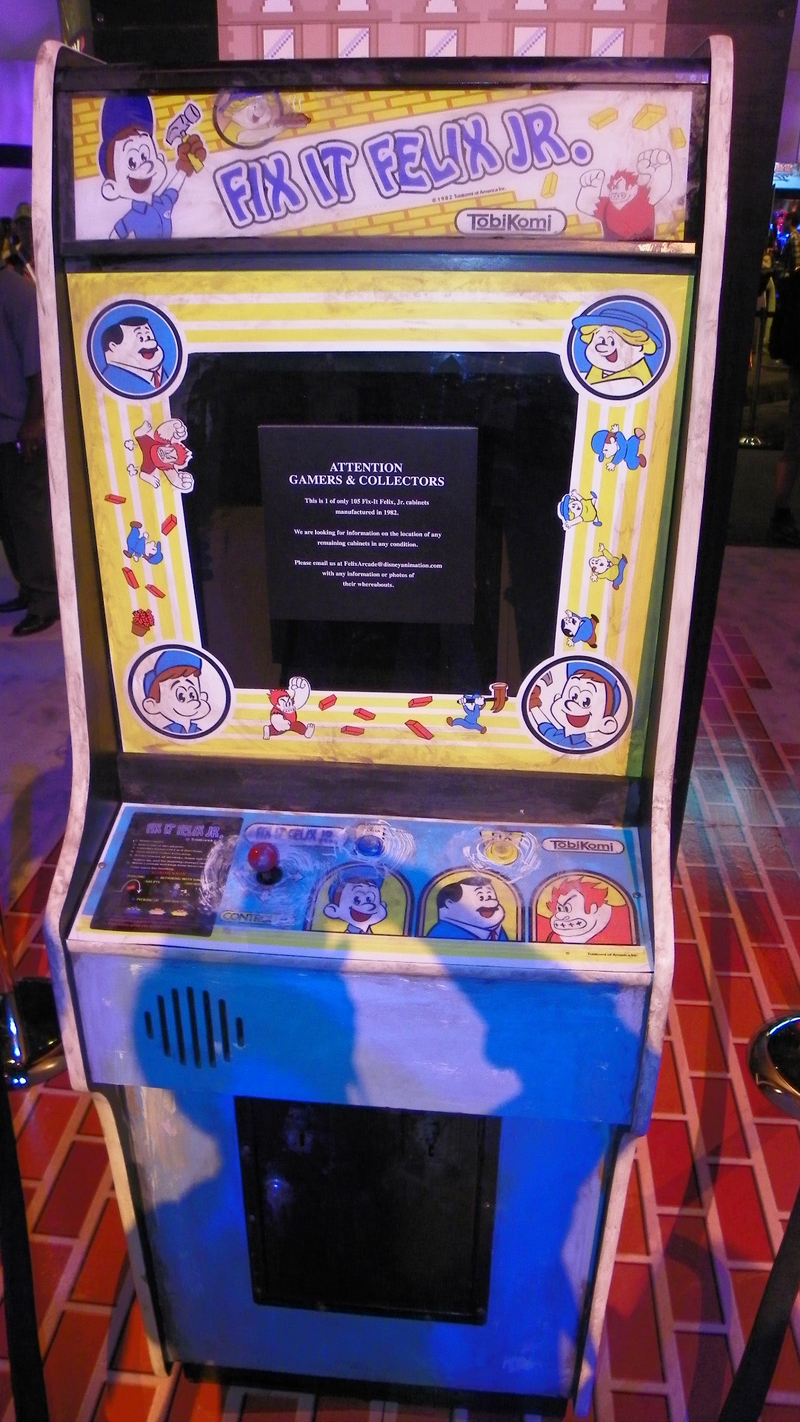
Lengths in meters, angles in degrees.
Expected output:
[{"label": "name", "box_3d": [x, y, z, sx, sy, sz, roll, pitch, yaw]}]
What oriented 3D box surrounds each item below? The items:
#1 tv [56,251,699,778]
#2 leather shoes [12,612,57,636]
[{"label": "tv", "box_3d": [-0.012, -0.233, 1.055, 0.436, 0.426, 0.176, 1, 30, 3]}, {"label": "leather shoes", "box_3d": [-1.790, -0.448, 4.789, 0.078, 0.090, 0.236, 2, 13, 4]}]
